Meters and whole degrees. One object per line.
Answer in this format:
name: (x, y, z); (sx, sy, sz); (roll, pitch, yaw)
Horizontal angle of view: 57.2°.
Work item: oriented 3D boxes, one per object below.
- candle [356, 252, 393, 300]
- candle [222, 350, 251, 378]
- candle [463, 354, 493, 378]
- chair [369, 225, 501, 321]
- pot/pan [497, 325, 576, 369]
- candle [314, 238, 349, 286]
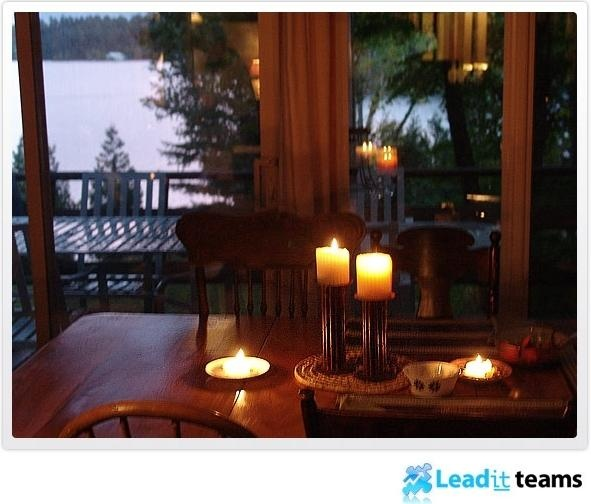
candle: (0.154, 0.038, 1.062); (0.070, 0.096, 0.073); (9, 19, 41)
candle: (-0.125, 0.225, 1.129); (0.045, 0.035, 0.051); (2, 0, -1)
candle: (0.362, 0.228, 1.068); (0.036, 0.023, 0.054); (-7, 22, 13)
chair: (0.518, 0.056, 1.907); (0.312, 0.285, 0.215); (1, 15, 8)
pot/pan: (0.496, 0.191, 1.135); (0.112, 0.056, 0.100); (-4, 10, 15)
candle: (0.069, 0.014, 1.123); (0.071, 0.101, 0.079); (-2, 7, -9)
